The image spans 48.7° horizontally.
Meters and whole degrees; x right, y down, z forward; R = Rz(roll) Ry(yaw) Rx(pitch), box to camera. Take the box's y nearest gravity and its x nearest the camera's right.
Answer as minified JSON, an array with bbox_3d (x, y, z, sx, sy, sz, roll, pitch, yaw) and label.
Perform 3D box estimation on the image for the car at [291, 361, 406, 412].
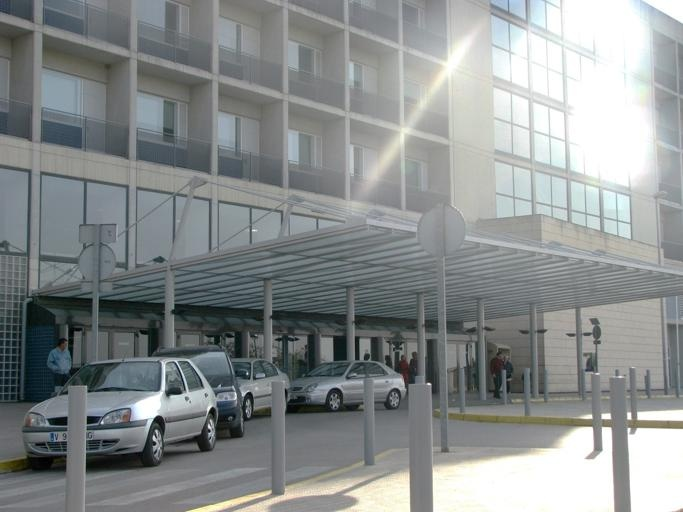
[{"bbox_3d":[0.132,4.296,25.037,3.976,1.673,1.342,4,-11,-24],"label":"car"}]

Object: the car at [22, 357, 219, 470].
[{"bbox_3d":[-3.798,2.767,13.773,1.871,2.029,3.364,-8,-13,33],"label":"car"}]
